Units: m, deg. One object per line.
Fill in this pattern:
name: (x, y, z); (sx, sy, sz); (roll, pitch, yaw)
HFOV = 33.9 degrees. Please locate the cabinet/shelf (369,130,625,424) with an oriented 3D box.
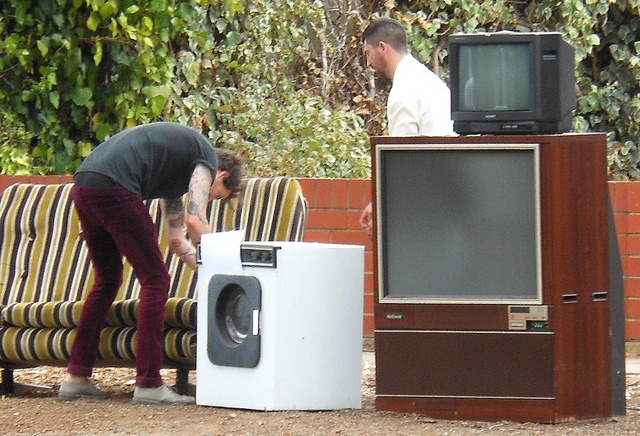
cabinet/shelf: (1.252, 0.365, 7.219); (1.551, 1.907, 1.347); (-1, -1, 15)

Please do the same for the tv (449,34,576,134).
tv: (1.165, -0.828, 6.585); (0.689, 0.623, 0.151); (1, 2, 2)

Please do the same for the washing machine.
washing machine: (-0.191, 0.709, 7.084); (1.245, 1.147, 0.915); (0, -1, 13)

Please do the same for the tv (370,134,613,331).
tv: (1.101, 0.055, 7.234); (1.441, 1.236, 1.951); (2, 9, 11)

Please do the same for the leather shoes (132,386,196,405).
leather shoes: (-1.058, 1.175, 7.071); (0.391, 0.144, 0.144); (0, -4, -6)

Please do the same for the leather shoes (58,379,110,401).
leather shoes: (-1.639, 1.178, 7.234); (0.277, 0.125, 0.130); (-1, 1, -20)

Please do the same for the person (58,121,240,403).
person: (-1.156, 0.307, 7.037); (1.213, 1.875, 0.555); (0, 2, -5)
